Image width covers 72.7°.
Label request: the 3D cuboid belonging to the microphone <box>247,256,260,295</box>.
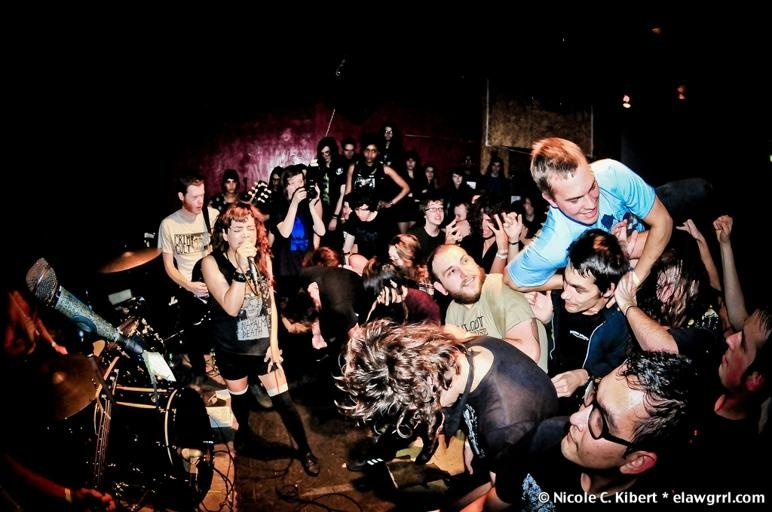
[{"bbox_3d":[-1.124,0.175,4.433,0.052,0.306,0.042,-13,6,-14],"label":"microphone"}]

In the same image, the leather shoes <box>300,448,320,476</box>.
[{"bbox_3d":[-0.682,1.799,4.598,0.120,0.098,0.250,-19,60,-25],"label":"leather shoes"}]

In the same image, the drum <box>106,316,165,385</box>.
[{"bbox_3d":[-1.960,0.670,4.114,0.416,0.654,0.235,4,-34,-41],"label":"drum"}]

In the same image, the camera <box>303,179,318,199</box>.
[{"bbox_3d":[-0.828,-0.723,5.831,0.181,0.070,0.235,10,44,-2],"label":"camera"}]

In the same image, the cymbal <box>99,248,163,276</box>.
[{"bbox_3d":[-2.328,0.059,4.884,0.310,0.201,0.576,8,13,34],"label":"cymbal"}]

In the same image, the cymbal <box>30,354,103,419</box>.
[{"bbox_3d":[-2.329,0.821,3.760,0.502,0.109,0.495,-4,7,-37],"label":"cymbal"}]
